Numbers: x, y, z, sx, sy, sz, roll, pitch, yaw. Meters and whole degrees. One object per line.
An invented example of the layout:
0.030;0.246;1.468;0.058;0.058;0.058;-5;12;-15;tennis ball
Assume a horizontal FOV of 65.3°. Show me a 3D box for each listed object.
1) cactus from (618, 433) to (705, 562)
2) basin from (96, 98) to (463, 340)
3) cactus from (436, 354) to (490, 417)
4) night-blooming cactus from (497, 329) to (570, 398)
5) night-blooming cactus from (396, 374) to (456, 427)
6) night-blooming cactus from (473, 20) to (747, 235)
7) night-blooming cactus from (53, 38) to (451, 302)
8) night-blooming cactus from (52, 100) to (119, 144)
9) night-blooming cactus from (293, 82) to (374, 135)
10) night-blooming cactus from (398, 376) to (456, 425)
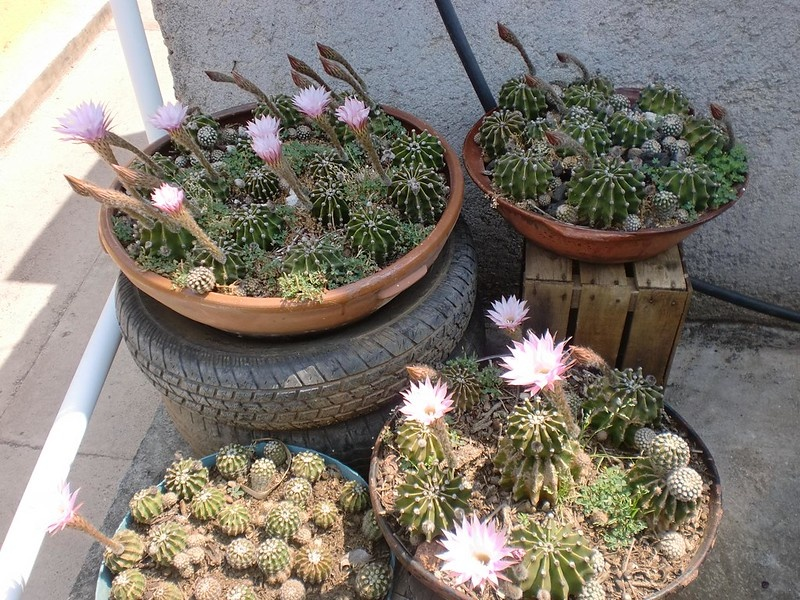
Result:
0.786;0.564;1.815;0.187;0.196;0.290;-25;60;-3;cactus
-0.182;-0.250;2.209;0.832;0.240;0.933;21;51;20;basin
0.220;0.281;2.114;0.156;0.050;0.173;6;64;-13;cactus
0.375;0.192;1.770;0.195;0.114;0.219;5;45;2;night-blooming cactus
0.066;0.286;1.768;0.139;0.068;0.149;-29;37;-14;night-blooming cactus
0.814;-0.493;2.534;0.920;0.388;0.873;26;57;24;night-blooming cactus
-0.396;-0.287;2.454;1.172;0.667;1.190;-8;41;0;night-blooming cactus
-1.014;-0.562;2.044;0.189;0.191;0.088;-30;86;-38;night-blooming cactus
-0.230;-0.639;2.181;0.225;0.092;0.237;-12;62;-27;night-blooming cactus
0.069;0.308;1.768;0.142;0.066;0.142;11;46;46;night-blooming cactus
